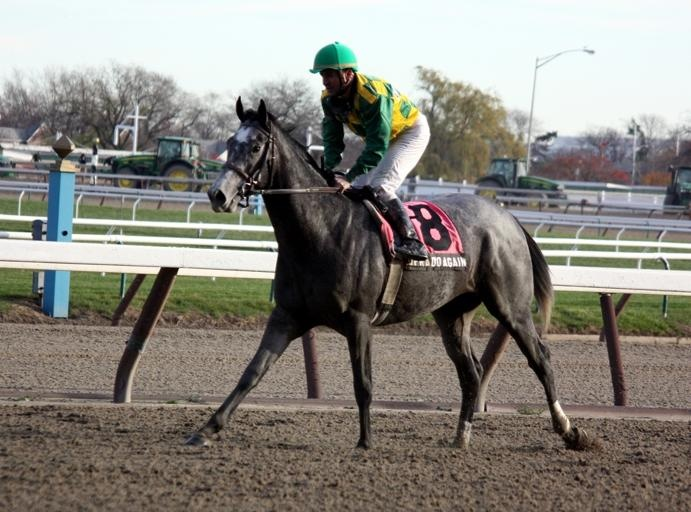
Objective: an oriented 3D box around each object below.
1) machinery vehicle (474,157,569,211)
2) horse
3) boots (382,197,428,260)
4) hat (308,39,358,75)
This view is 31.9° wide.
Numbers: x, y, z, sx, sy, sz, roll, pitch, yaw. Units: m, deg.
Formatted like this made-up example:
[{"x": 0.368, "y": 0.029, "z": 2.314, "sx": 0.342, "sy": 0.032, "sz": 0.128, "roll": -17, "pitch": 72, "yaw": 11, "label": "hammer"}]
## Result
[{"x": 4.440, "y": -1.776, "z": 30.037, "sx": 2.245, "sy": 1.354, "sz": 1.177, "roll": 2, "pitch": 5, "yaw": 20, "label": "machinery vehicle"}, {"x": 0.428, "y": 0.290, "z": 9.666, "sx": 3.718, "sy": 2.656, "sz": 0.874, "roll": 5, "pitch": -8, "yaw": -35, "label": "horse"}, {"x": 0.462, "y": -0.197, "z": 9.315, "sx": 0.211, "sy": 0.534, "sz": 0.165, "roll": -13, "pitch": -12, "yaw": 9, "label": "boots"}, {"x": -0.101, "y": -1.529, "z": 9.405, "sx": 0.435, "sy": 0.263, "sz": 0.318, "roll": -3, "pitch": 7, "yaw": -21, "label": "hat"}]
